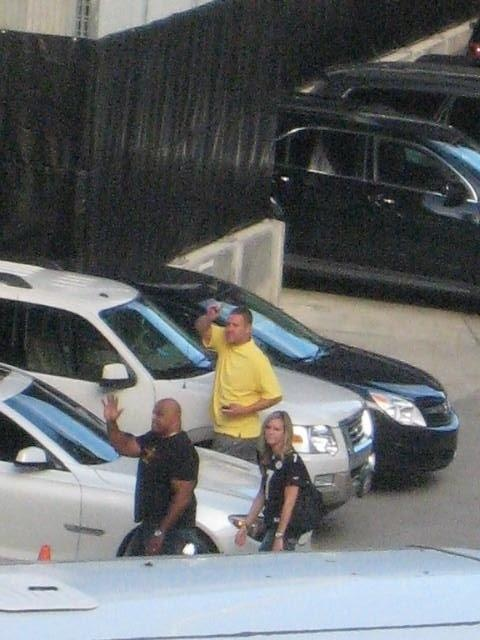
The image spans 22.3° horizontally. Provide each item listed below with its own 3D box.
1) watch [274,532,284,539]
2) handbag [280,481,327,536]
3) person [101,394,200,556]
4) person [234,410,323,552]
[{"bbox_3d":[0.203,1.092,6.162,0.040,0.039,0.025,4,4,3],"label":"watch"},{"bbox_3d":[0.343,0.975,6.292,0.114,0.275,0.325,14,14,32],"label":"handbag"},{"bbox_3d":[-0.429,0.804,6.299,0.463,0.731,0.731,2,12,-19],"label":"person"},{"bbox_3d":[0.206,1.027,6.316,0.482,1.048,0.344,0,2,-10],"label":"person"}]
